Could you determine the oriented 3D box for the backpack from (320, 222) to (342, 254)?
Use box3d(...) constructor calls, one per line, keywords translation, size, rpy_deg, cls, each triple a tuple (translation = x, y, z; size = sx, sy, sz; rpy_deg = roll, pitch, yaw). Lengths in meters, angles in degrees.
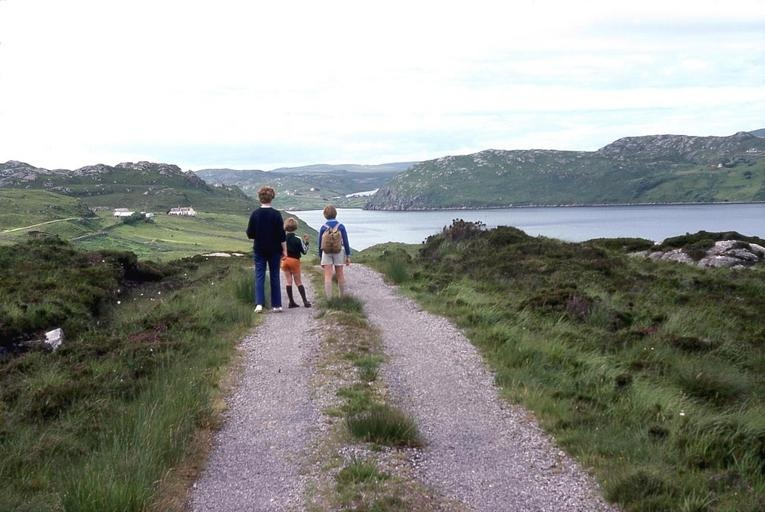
box3d(translation=(-1.492, -0.466, 15.509), size=(0.601, 0.782, 0.292), rpy_deg=(-3, 12, -6), cls="backpack")
